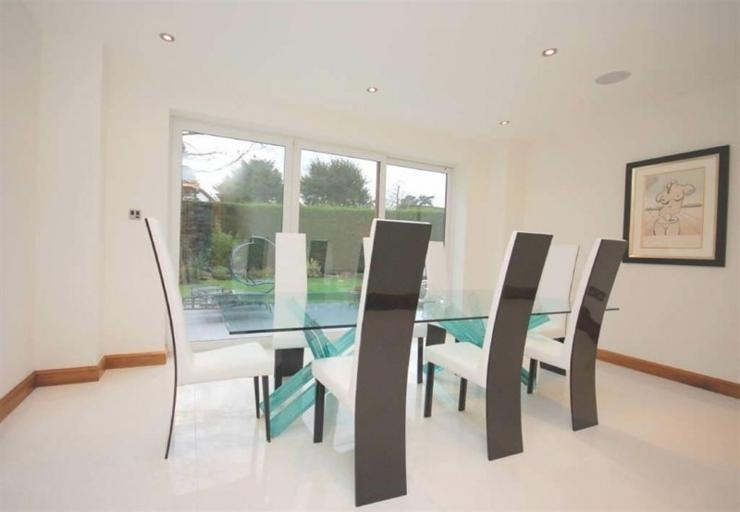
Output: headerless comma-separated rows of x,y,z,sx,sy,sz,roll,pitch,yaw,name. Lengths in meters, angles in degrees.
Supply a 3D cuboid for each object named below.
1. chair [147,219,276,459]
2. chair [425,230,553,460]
-1.253,0.615,4.087,0.951,1.788,0.730,2,6,-12,chair
0.918,0.668,4.066,0.741,1.747,0.455,8,8,38,chair
